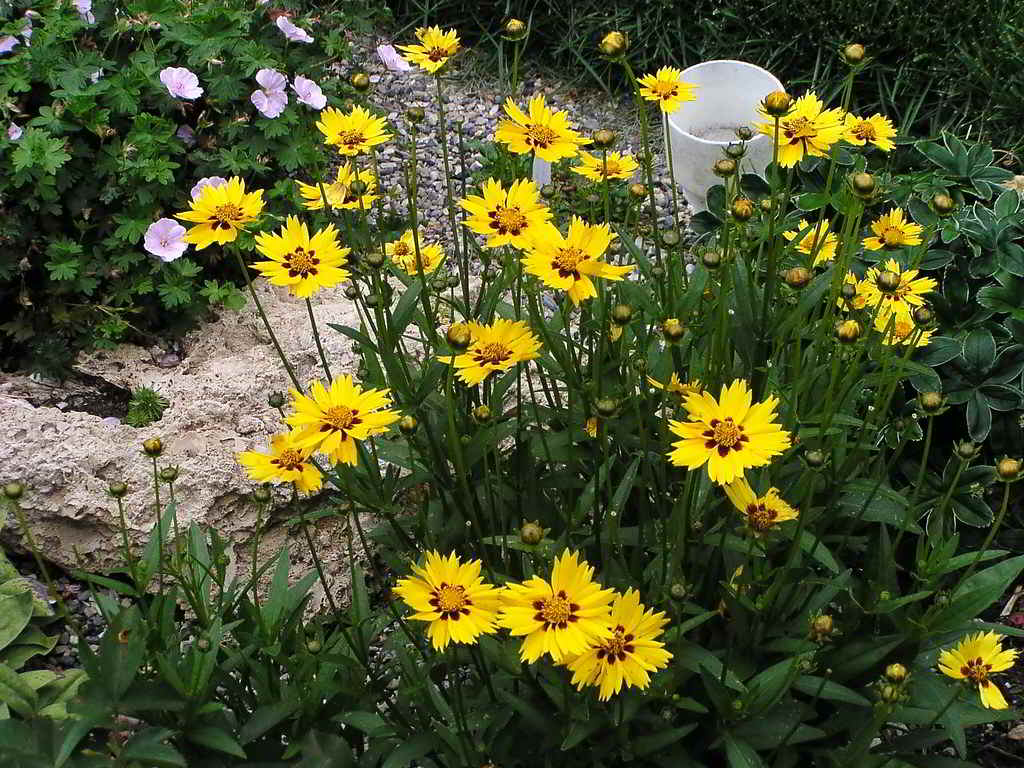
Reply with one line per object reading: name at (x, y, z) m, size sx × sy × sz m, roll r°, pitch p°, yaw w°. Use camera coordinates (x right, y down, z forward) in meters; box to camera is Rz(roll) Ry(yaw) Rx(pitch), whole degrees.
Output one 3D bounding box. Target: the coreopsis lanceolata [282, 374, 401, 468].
coreopsis lanceolata at (-0.399, 0.083, 2.230) m, size 0.284 × 0.091 × 0.305 m, roll -3°, pitch 10°, yaw -2°
